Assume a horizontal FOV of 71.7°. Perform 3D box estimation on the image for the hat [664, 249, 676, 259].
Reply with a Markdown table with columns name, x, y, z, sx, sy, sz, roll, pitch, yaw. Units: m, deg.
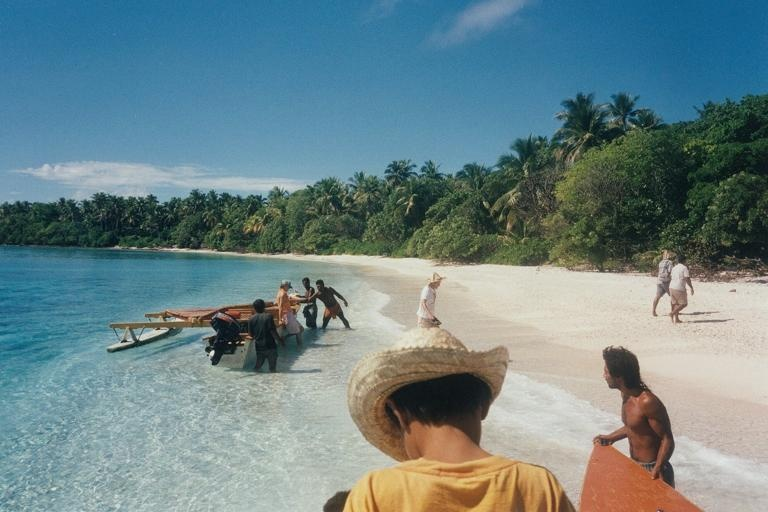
| name | x | y | z | sx | sy | sz | roll | pitch | yaw |
| --- | --- | --- | --- | --- | --- | --- | --- | --- | --- |
| hat | 11.634 | -0.108 | 21.721 | 0.378 | 0.433 | 0.456 | -3 | -36 | 19 |

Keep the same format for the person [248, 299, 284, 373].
| name | x | y | z | sx | sy | sz | roll | pitch | yaw |
| --- | --- | --- | --- | --- | --- | --- | --- | --- | --- |
| person | -3.370 | 2.199 | 15.064 | 0.908 | 1.978 | 0.996 | 2 | 4 | -11 |

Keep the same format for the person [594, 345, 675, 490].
| name | x | y | z | sx | sy | sz | roll | pitch | yaw |
| --- | --- | --- | --- | --- | --- | --- | --- | --- | --- |
| person | 4.060 | 2.543 | 8.511 | 1.180 | 2.076 | 0.578 | 7 | 6 | 44 |
